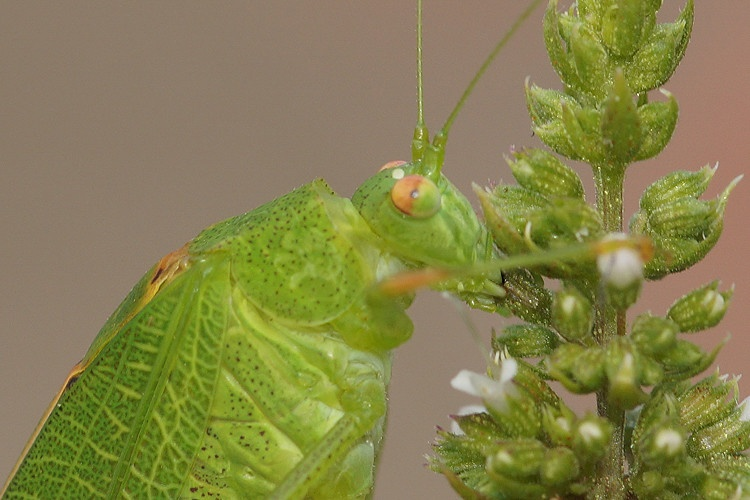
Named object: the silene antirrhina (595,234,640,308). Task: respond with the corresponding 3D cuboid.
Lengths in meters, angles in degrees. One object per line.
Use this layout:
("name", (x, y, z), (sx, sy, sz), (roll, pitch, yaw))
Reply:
("silene antirrhina", (0.504, 0.037, 2.047), (0.090, 0.099, 0.177), (-8, -40, 2))
